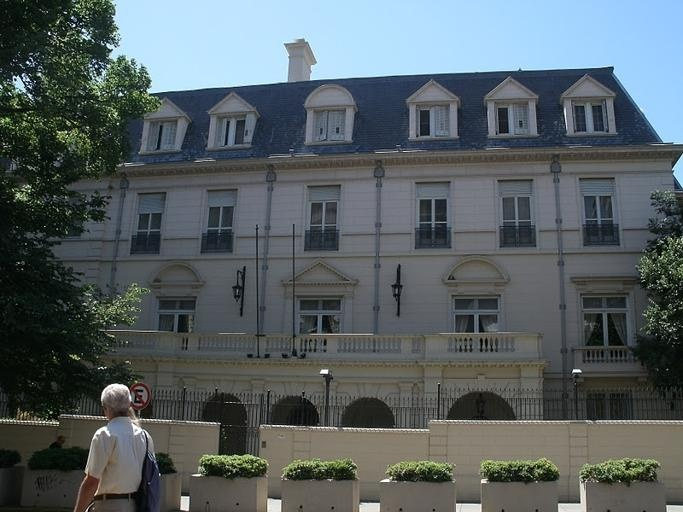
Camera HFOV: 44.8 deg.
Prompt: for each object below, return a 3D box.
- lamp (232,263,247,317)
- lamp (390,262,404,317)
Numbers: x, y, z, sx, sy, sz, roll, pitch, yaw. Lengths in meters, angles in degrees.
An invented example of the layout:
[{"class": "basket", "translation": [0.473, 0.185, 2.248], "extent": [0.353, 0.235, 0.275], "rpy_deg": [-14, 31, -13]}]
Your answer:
[{"class": "lamp", "translation": [-4.311, 1.455, 35.074], "extent": [0.442, 2.193, 0.560], "rpy_deg": [-3, -23, 14]}, {"class": "lamp", "translation": [2.278, 1.371, 34.004], "extent": [0.455, 2.203, 0.570], "rpy_deg": [-2, -23, 13]}]
